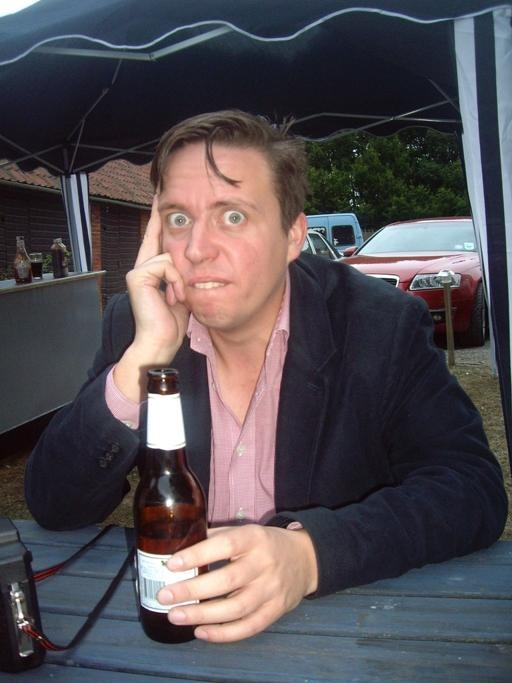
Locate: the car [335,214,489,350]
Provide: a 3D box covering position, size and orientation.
[{"bbox_3d":[2.361,-0.989,7.668,1.625,1.159,3.462,0,2,32],"label":"car"}]
